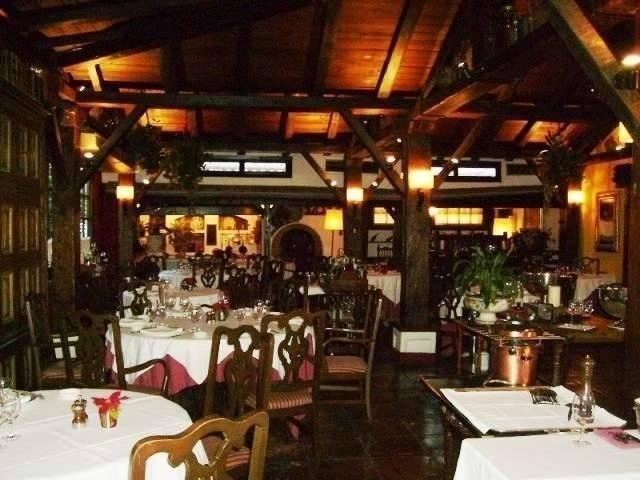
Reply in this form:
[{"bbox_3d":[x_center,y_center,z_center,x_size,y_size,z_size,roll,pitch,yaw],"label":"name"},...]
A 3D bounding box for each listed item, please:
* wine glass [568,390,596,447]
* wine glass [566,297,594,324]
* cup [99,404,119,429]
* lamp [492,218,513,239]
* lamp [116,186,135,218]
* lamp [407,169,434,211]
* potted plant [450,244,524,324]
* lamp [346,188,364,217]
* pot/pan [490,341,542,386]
[{"bbox_3d":[1.492,1.005,3.449,0.125,0.265,0.242,4,9,24],"label":"wine glass"},{"bbox_3d":[2.416,0.658,5.600,0.196,0.245,0.205,0,0,8],"label":"wine glass"},{"bbox_3d":[-1.268,1.064,3.644,0.117,0.142,0.126,0,-7,0],"label":"cup"},{"bbox_3d":[5.512,-0.421,17.982,0.723,0.792,0.768,1,1,4],"label":"lamp"},{"bbox_3d":[-3.504,-0.681,10.811,0.365,0.546,0.383,2,7,0],"label":"lamp"},{"bbox_3d":[1.302,-0.648,7.728,0.269,0.520,0.164,-2,7,0],"label":"lamp"},{"bbox_3d":[1.374,0.382,4.853,0.512,0.557,0.499,4,8,24],"label":"potted plant"},{"bbox_3d":[0.633,-0.689,11.277,0.328,0.606,0.378,0,8,-1],"label":"lamp"},{"bbox_3d":[1.332,0.831,4.121,0.273,0.317,0.314,0,-1,28],"label":"pot/pan"}]
